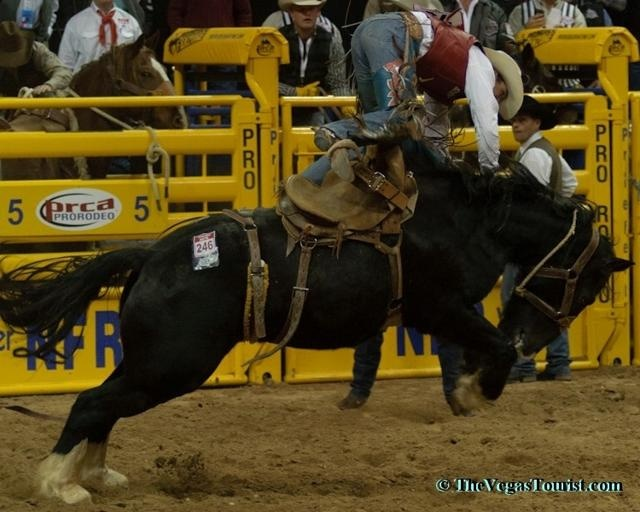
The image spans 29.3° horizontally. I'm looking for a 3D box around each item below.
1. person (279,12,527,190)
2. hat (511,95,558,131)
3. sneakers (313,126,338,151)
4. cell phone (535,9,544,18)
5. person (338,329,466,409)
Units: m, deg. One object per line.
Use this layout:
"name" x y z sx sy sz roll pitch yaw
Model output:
"person" 0.614 -1.021 7.902 1.564 1.005 0.742 6 -2 -30
"hat" 1.676 -1.088 9.396 0.298 0.107 0.330 4 -10 40
"sneakers" 0.038 -0.705 7.389 0.112 0.148 0.301 -5 15 -20
"cell phone" 2.104 -2.336 11.742 0.097 0.076 0.085 5 -12 3
"person" 0.670 0.733 8.961 1.018 0.796 0.402 -3 -13 32
